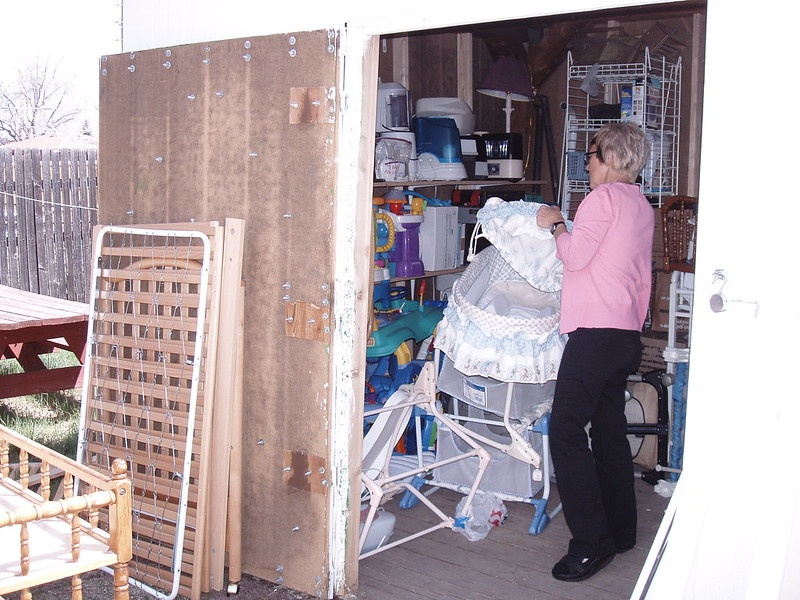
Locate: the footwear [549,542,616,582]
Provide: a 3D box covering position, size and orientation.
[{"bbox_3d":[0.879,1.275,3.323,0.290,0.132,0.133,-23,19,-23],"label":"footwear"}]

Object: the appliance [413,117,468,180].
[{"bbox_3d":[0.280,-1.091,5.008,0.438,0.474,0.312,-1,13,6],"label":"appliance"}]
